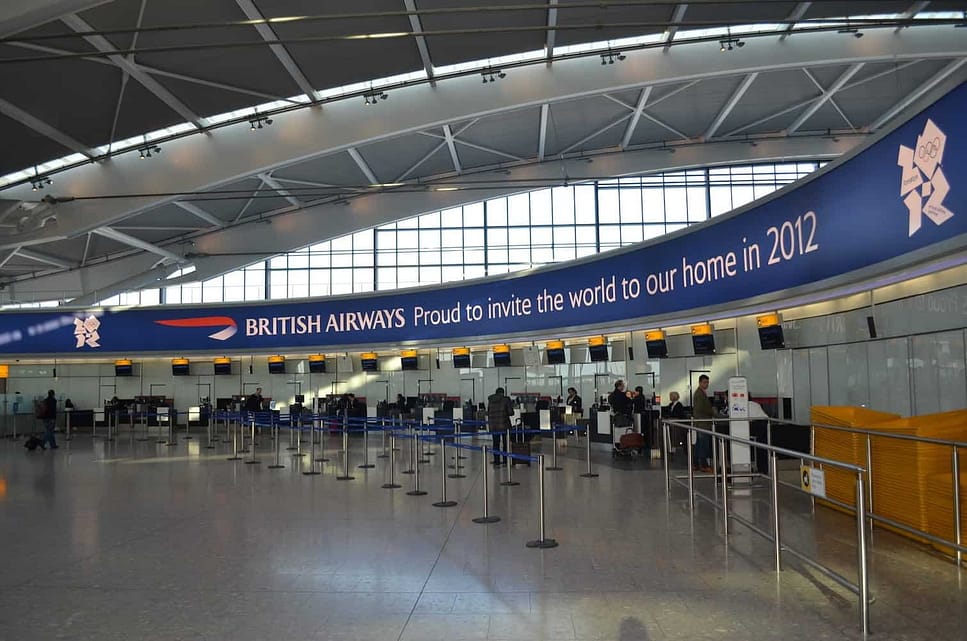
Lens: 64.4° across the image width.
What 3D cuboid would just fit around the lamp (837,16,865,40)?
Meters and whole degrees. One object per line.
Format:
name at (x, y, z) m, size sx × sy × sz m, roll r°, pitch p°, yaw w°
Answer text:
lamp at (10.217, -8.116, 21.313) m, size 0.642 × 0.446 × 1.022 m, roll 2°, pitch 4°, yaw 27°

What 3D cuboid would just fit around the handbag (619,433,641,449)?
handbag at (3.763, 3.075, 19.575) m, size 0.507 × 0.441 × 0.396 m, roll -8°, pitch -18°, yaw 36°

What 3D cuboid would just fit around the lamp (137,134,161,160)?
lamp at (-9.842, -5.047, 22.509) m, size 0.661 × 0.618 × 0.642 m, roll -29°, pitch 47°, yaw -36°

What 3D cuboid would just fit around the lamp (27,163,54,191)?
lamp at (-13.206, -4.285, 22.845) m, size 0.519 × 0.704 × 0.289 m, roll -15°, pitch 13°, yaw -30°

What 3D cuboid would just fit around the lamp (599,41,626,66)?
lamp at (3.599, -7.360, 21.415) m, size 0.931 × 0.418 × 0.614 m, roll -1°, pitch 0°, yaw 6°

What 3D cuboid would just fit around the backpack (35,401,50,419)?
backpack at (-13.544, 2.721, 23.527) m, size 0.332 × 0.584 × 0.907 m, roll -4°, pitch 5°, yaw -31°

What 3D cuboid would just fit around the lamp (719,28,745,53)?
lamp at (6.967, -7.722, 21.350) m, size 0.660 × 0.356 × 0.896 m, roll 1°, pitch 4°, yaw 17°

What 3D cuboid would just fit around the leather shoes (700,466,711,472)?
leather shoes at (5.180, 3.422, 17.865) m, size 0.242 × 0.070 × 0.369 m, roll 0°, pitch 4°, yaw 12°

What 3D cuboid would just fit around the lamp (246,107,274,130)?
lamp at (-6.454, -5.863, 22.281) m, size 0.402 × 0.493 × 0.624 m, roll -15°, pitch -3°, yaw 36°

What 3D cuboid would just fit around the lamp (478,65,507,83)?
lamp at (0.229, -6.911, 21.635) m, size 0.672 × 0.281 × 0.808 m, roll -4°, pitch 5°, yaw -6°

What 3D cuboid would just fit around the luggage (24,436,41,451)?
luggage at (-13.961, 3.814, 23.770) m, size 0.318 × 0.362 × 0.551 m, roll -5°, pitch 3°, yaw 8°

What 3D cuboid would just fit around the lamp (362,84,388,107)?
lamp at (-3.090, -6.434, 22.097) m, size 0.516 × 0.245 × 0.690 m, roll -6°, pitch 2°, yaw -25°
